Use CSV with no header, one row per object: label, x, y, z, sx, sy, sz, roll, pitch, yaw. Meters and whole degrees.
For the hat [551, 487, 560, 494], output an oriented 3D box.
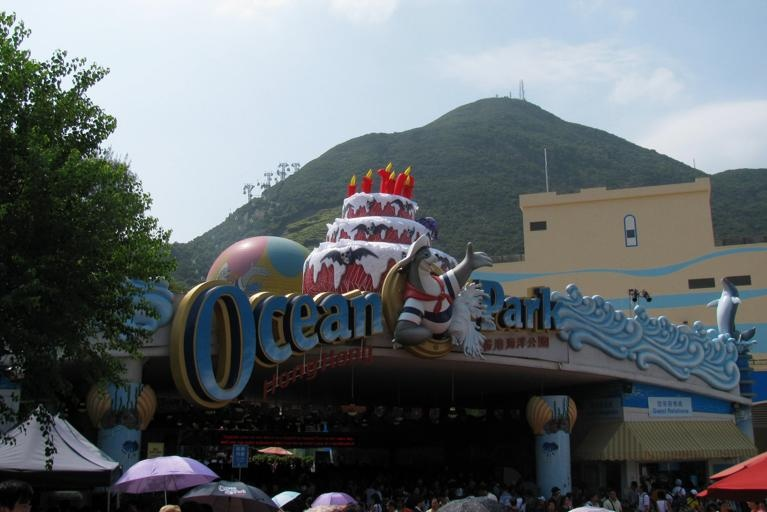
hat,7.033,9.755,37.517,0.315,0.107,0.316,1,-9,-32
